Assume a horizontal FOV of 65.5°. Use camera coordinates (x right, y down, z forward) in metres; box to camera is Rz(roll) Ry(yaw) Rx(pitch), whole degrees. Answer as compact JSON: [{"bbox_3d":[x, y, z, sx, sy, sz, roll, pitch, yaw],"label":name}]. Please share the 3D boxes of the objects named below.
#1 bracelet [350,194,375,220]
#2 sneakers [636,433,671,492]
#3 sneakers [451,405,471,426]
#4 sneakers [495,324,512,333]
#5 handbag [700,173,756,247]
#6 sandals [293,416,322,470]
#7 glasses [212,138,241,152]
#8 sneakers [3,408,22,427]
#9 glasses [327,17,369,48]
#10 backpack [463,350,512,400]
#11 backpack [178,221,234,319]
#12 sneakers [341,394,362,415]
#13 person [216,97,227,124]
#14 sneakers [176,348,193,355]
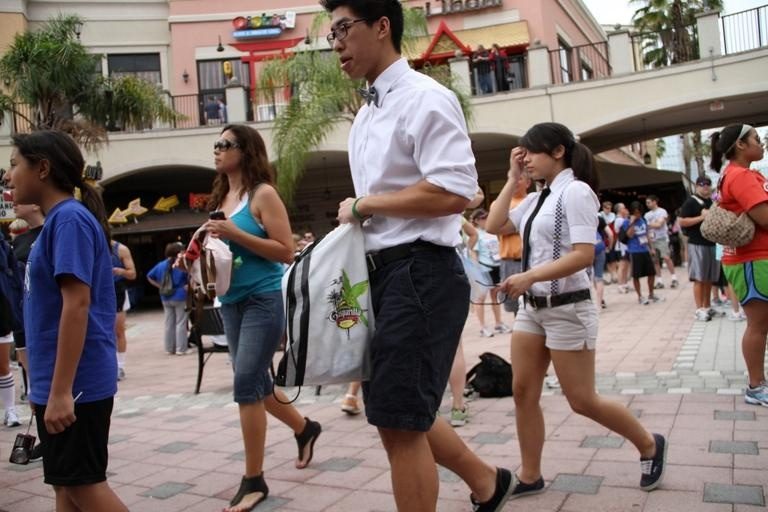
[{"bbox_3d":[-0.113,-0.261,3.263,0.094,0.062,0.127,34,25,23],"label":"bracelet"},{"bbox_3d":[1.805,1.417,4.084,0.158,0.404,0.145,9,2,-11],"label":"sneakers"},{"bbox_3d":[0.682,1.459,5.428,0.089,0.110,0.240,-1,2,21],"label":"sneakers"},{"bbox_3d":[2.006,1.241,10.106,0.241,0.110,0.122,-2,4,19],"label":"sneakers"},{"bbox_3d":[3.025,-0.394,5.290,0.313,0.577,0.563,3,3,-30],"label":"handbag"},{"bbox_3d":[-0.614,1.493,4.873,0.194,0.469,0.144,12,6,2],"label":"sandals"},{"bbox_3d":[-1.211,-0.868,4.588,0.117,0.047,0.114,5,-5,-45],"label":"glasses"},{"bbox_3d":[-3.974,1.741,6.388,0.117,0.136,0.288,4,-10,-36],"label":"sneakers"},{"bbox_3d":[-0.207,-1.215,3.225,0.153,0.046,0.148,-46,18,-23],"label":"glasses"},{"bbox_3d":[1.099,1.238,6.160,0.523,0.536,0.344,-2,-9,16],"label":"backpack"},{"bbox_3d":[-1.332,0.079,4.488,0.280,0.615,0.446,-5,2,-37],"label":"backpack"},{"bbox_3d":[-0.337,1.497,6.015,0.115,0.146,0.304,3,0,21],"label":"sneakers"},{"bbox_3d":[-5.561,-4.988,20.378,0.273,0.922,0.824,-4,1,-15],"label":"person"},{"bbox_3d":[-3.723,1.804,11.165,0.318,0.127,0.115,-4,8,-38],"label":"sneakers"}]
